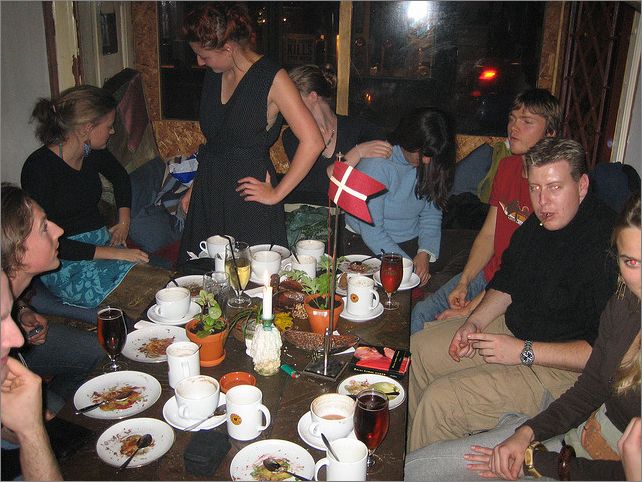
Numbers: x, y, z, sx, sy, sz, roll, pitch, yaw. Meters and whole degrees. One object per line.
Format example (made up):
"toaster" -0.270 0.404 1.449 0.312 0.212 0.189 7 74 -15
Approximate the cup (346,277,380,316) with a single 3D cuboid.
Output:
"cup" 0.174 0.238 2.301 0.173 0.133 0.112 15 19 41

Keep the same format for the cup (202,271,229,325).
"cup" -0.422 0.229 2.046 0.120 0.208 0.128 -1 31 0

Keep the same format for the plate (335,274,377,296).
"plate" 0.147 0.201 2.320 0.150 0.102 0.095 11 25 6

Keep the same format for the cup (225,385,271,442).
"cup" -0.242 0.562 1.655 0.178 0.144 0.122 12 18 28

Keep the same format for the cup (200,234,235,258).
"cup" -0.528 0.013 2.600 0.173 0.095 0.142 -7 25 -13

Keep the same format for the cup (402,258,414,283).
"cup" 0.420 0.144 2.550 0.091 0.084 0.102 1 15 6

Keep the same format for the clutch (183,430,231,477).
"clutch" -0.362 0.661 1.595 0.108 0.076 0.121 12 24 19

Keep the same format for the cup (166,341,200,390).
"cup" -0.474 0.437 1.840 0.102 0.148 0.166 0 13 -9

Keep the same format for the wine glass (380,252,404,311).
"wine glass" 0.324 0.190 2.345 0.131 0.328 0.140 3 22 14

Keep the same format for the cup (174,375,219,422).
"cup" -0.412 0.516 1.719 0.115 0.098 0.149 9 25 13

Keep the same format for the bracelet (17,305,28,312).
"bracelet" -1.391 0.307 2.378 0.035 0.024 0.025 -4 9 -21

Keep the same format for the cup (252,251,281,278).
"cup" -0.257 0.098 2.431 0.130 0.106 0.123 -1 27 1

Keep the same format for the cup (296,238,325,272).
"cup" -0.059 0.067 2.560 0.121 0.108 0.136 1 15 2

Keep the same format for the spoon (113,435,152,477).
"spoon" -0.584 0.655 1.574 0.033 0.021 0.161 19 30 7

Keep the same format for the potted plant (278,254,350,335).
"potted plant" -0.010 0.217 2.087 0.213 0.318 0.255 8 19 23

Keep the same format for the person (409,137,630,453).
"person" 0.697 -0.039 3.168 1.365 2.376 1.042 1 20 1

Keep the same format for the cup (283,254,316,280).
"cup" -0.105 0.120 2.450 0.144 0.102 0.094 -2 11 1

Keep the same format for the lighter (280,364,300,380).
"lighter" -0.119 0.487 1.910 0.048 0.013 0.109 -16 30 -39

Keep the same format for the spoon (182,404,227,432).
"spoon" -0.394 0.583 1.688 0.142 0.021 0.033 -32 63 -35

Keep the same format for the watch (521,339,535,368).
"watch" 0.946 0.511 2.337 0.055 0.105 0.101 1 30 16

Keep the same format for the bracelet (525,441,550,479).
"bracelet" 0.817 0.835 1.955 0.073 0.122 0.092 14 25 25
